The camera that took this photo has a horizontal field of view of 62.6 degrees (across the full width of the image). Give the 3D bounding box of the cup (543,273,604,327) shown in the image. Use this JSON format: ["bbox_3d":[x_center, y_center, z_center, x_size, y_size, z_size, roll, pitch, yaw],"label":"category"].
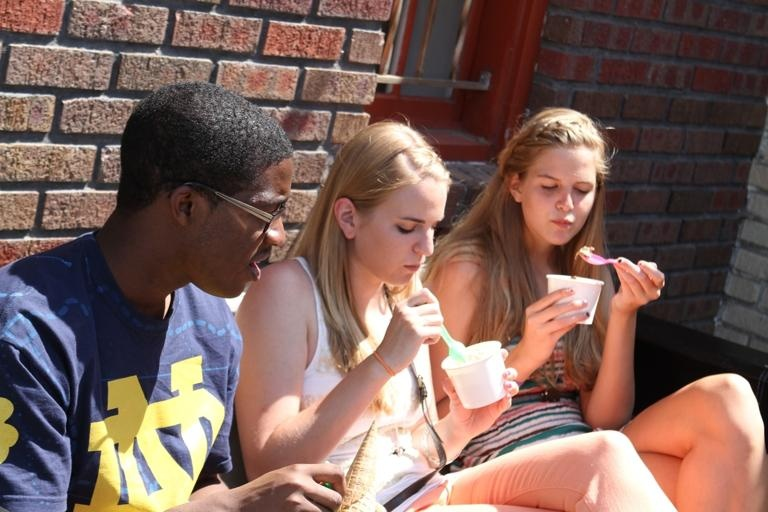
[{"bbox_3d":[0.739,0.169,2.494,0.202,0.152,0.200,4,-3,0],"label":"cup"}]

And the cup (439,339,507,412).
[{"bbox_3d":[0.328,0.421,2.281,0.226,0.177,0.239,-24,2,1],"label":"cup"}]

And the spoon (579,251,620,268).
[{"bbox_3d":[0.960,0.016,2.847,0.052,0.035,0.199,-38,34,-25],"label":"spoon"}]

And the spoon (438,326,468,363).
[{"bbox_3d":[0.258,0.344,2.445,0.055,0.055,0.216,-2,32,-14],"label":"spoon"}]

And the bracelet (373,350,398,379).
[{"bbox_3d":[-0.004,0.350,2.069,0.078,0.022,0.080,43,-9,51],"label":"bracelet"}]

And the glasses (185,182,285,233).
[{"bbox_3d":[-0.392,-0.108,1.600,0.152,0.042,0.145,30,-4,1],"label":"glasses"}]
